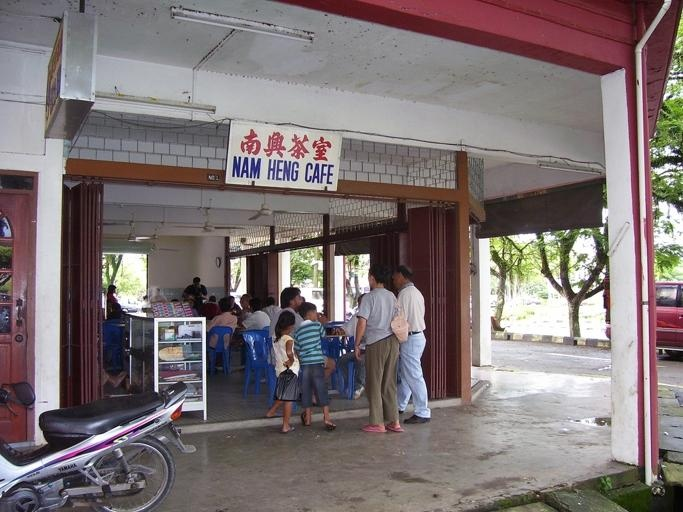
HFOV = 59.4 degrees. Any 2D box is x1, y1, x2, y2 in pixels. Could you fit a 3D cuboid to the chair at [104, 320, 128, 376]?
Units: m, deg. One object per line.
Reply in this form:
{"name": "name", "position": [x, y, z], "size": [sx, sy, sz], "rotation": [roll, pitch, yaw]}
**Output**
{"name": "chair", "position": [-3.237, 1.307, 8.493], "size": [0.283, 0.728, 0.562], "rotation": [1, 2, -23]}

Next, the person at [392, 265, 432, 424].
{"name": "person", "position": [0.752, 1.015, 7.101], "size": [0.493, 1.806, 0.651], "rotation": [-2, 2, -22]}

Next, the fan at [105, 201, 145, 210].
{"name": "fan", "position": [-4.284, -1.043, 11.871], "size": [0.829, 0.156, 2.315], "rotation": [1, 2, -19]}

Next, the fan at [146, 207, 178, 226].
{"name": "fan", "position": [-4.021, -0.912, 13.348], "size": [0.571, 0.323, 0.278], "rotation": [-2, 6, -18]}

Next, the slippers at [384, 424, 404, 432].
{"name": "slippers", "position": [0.580, 1.861, 6.517], "size": [0.205, 0.060, 0.080], "rotation": [-7, -9, 37]}

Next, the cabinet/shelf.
{"name": "cabinet/shelf", "position": [-1.859, 1.171, 6.416], "size": [0.419, 0.950, 1.105], "rotation": [2, -6, -32]}

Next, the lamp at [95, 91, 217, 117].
{"name": "lamp", "position": [-1.834, -1.505, 5.814], "size": [0.502, 0.160, 1.168], "rotation": [4, 3, 44]}

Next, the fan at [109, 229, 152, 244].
{"name": "fan", "position": [-5.591, -0.486, 16.202], "size": [0.741, 0.193, 0.807], "rotation": [-3, -6, 30]}

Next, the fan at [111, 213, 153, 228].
{"name": "fan", "position": [-4.949, -0.852, 13.943], "size": [1.053, 0.348, 2.102], "rotation": [1, 2, -23]}

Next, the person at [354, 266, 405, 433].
{"name": "person", "position": [0.429, 0.997, 6.603], "size": [0.549, 1.797, 0.419], "rotation": [2, 2, 3]}

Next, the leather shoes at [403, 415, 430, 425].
{"name": "leather shoes", "position": [0.863, 1.881, 6.854], "size": [0.300, 0.133, 0.114], "rotation": [2, -8, -1]}

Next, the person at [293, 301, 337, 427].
{"name": "person", "position": [-0.299, 1.177, 6.602], "size": [0.437, 1.311, 0.343], "rotation": [-5, -5, 25]}

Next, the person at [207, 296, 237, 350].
{"name": "person", "position": [-1.933, 1.034, 9.672], "size": [0.434, 0.773, 0.894], "rotation": [1, 2, -10]}

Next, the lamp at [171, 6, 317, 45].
{"name": "lamp", "position": [-0.924, -2.205, 5.662], "size": [1.359, 0.225, 0.421], "rotation": [1, 2, -23]}

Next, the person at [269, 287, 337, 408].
{"name": "person", "position": [-0.574, 0.937, 7.834], "size": [0.556, 1.084, 0.404], "rotation": [3, 19, -22]}

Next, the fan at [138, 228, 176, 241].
{"name": "fan", "position": [-5.384, -0.620, 17.035], "size": [0.860, 0.408, 3.899], "rotation": [1, 2, -18]}
